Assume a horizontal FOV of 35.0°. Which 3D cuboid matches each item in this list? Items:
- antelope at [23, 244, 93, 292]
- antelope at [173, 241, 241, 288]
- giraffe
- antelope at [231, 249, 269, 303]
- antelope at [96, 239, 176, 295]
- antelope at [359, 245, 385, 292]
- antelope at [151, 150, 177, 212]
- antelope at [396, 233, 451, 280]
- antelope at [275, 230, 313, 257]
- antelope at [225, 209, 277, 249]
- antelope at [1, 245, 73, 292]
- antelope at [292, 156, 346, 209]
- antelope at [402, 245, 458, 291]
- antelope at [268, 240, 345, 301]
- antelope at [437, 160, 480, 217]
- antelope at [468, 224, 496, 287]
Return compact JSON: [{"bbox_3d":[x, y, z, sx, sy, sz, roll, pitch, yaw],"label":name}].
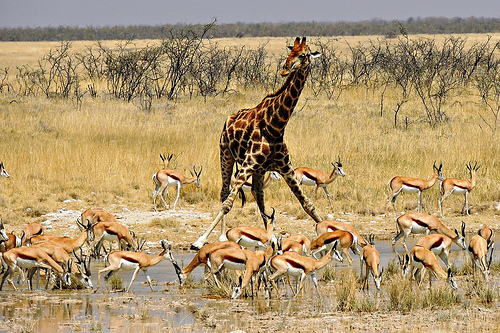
[{"bbox_3d":[-7.185,3.785,29.566,0.956,1.354,0.418,-43,8,29],"label":"antelope"},{"bbox_3d":[-1.781,3.646,30.339,1.839,1.915,3.819,4,0,3],"label":"antelope"},{"bbox_3d":[0.514,-0.973,31.548,4.223,7.872,2.767,-1,-2,19],"label":"giraffe"},{"bbox_3d":[-0.002,3.964,29.123,1.317,1.783,0.839,0,-2,-5],"label":"antelope"},{"bbox_3d":[-4.337,3.687,29.528,2.706,1.885,1.177,0,-2,-14],"label":"antelope"},{"bbox_3d":[4.514,3.780,29.971,0.735,1.641,1.275,0,-2,-14],"label":"antelope"},{"bbox_3d":[-4.080,0.521,37.216,0.824,2.834,1.102,14,-2,-16],"label":"antelope"},{"bbox_3d":[7.348,3.157,31.402,2.322,2.020,0.753,-1,-6,-16],"label":"antelope"},{"bbox_3d":[1.803,2.934,30.401,1.402,1.117,0.759,6,0,10],"label":"antelope"},{"bbox_3d":[0.046,2.485,30.723,1.757,1.410,0.585,0,-2,-7],"label":"antelope"},{"bbox_3d":[-7.975,3.772,29.372,2.558,1.595,0.573,0,-1,-2],"label":"antelope"},{"bbox_3d":[3.136,0.675,37.499,2.699,2.786,0.807,10,15,22],"label":"antelope"},{"bbox_3d":[6.631,3.737,29.803,1.926,1.537,0.726,-1,-2,20],"label":"antelope"},{"bbox_3d":[1.867,3.914,29.363,2.413,1.756,0.790,0,-2,1],"label":"antelope"},{"bbox_3d":[9.412,1.137,36.443,1.984,2.334,0.945,0,-2,-18],"label":"antelope"},{"bbox_3d":[9.136,3.232,30.794,0.611,2.073,2.500,-1,8,7],"label":"antelope"}]
